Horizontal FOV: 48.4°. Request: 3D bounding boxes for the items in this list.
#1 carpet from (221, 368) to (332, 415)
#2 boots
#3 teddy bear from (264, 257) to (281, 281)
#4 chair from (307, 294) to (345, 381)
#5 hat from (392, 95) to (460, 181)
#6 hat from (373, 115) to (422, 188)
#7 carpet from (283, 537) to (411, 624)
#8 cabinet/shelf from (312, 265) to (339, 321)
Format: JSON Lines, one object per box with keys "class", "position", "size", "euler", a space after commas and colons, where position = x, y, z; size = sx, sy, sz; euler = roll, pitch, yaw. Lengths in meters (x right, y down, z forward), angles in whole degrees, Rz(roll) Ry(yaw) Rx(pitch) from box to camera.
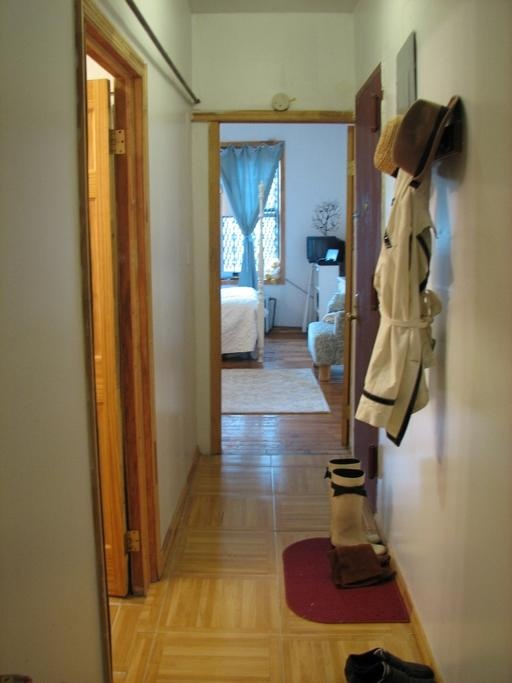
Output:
{"class": "carpet", "position": [0.137, 0.454, 5.342], "size": [0.959, 0.078, 1.432], "euler": [-1, 9, -1]}
{"class": "boots", "position": [0.434, 0.807, 2.494], "size": [0.284, 0.485, 0.469], "euler": [-2, 7, 5]}
{"class": "teddy bear", "position": [0.232, -1.077, 8.571], "size": [0.235, 0.565, 0.271], "euler": [1, -2, 0]}
{"class": "chair", "position": [0.835, -0.047, 6.109], "size": [0.489, 0.786, 1.016], "euler": [3, 9, 2]}
{"class": "hat", "position": [0.432, -0.527, 1.458], "size": [0.058, 0.200, 0.152], "euler": [14, 23, 14]}
{"class": "hat", "position": [0.420, -0.612, 1.769], "size": [0.056, 0.175, 0.201], "euler": [8, 26, 1]}
{"class": "carpet", "position": [0.339, 0.962, 2.364], "size": [0.461, 0.042, 0.643], "euler": [-1, 9, 2]}
{"class": "cabinet/shelf", "position": [0.893, -0.645, 7.298], "size": [0.219, 0.855, 0.789], "euler": [0, 3, 3]}
